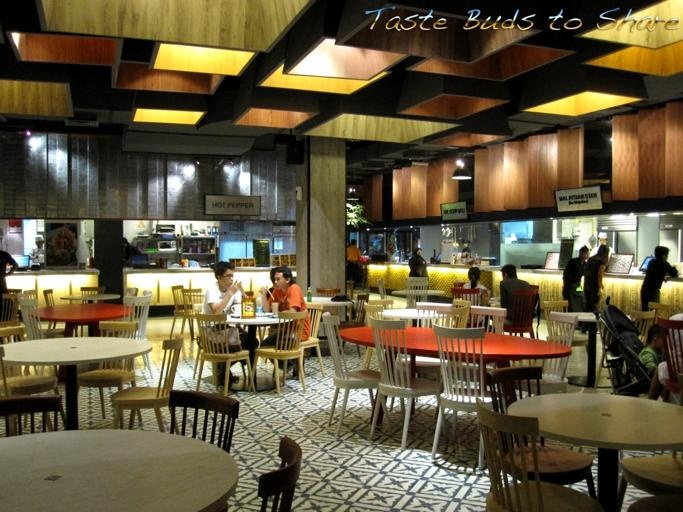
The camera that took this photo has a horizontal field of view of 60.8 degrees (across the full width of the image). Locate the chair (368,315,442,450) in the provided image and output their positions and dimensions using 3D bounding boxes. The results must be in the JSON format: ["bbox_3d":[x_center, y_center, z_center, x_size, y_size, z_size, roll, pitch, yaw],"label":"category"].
[{"bbox_3d":[0.594,1.165,5.600,0.666,1.197,0.849,1,4,7],"label":"chair"}]

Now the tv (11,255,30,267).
[{"bbox_3d":[-6.927,0.109,12.568,0.276,0.176,0.147,0,7,-9],"label":"tv"}]

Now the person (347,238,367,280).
[{"bbox_3d":[0.487,0.233,19.962,0.594,1.417,1.286,1,4,1],"label":"person"}]

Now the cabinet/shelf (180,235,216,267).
[{"bbox_3d":[-3.611,-0.120,14.504,0.865,0.721,0.273,0,1,-18],"label":"cabinet/shelf"}]

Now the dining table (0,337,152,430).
[{"bbox_3d":[-2.211,0.938,4.796,0.994,0.609,0.947,3,-5,-3],"label":"dining table"}]

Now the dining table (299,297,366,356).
[{"bbox_3d":[-0.134,1.030,8.218,0.981,0.655,0.934,0,-3,-3],"label":"dining table"}]

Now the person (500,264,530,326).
[{"bbox_3d":[2.544,0.623,8.704,0.429,1.104,0.375,-11,34,-5],"label":"person"}]

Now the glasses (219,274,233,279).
[{"bbox_3d":[-1.483,0.259,7.436,0.103,0.095,0.083,-10,3,19],"label":"glasses"}]

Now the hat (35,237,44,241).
[{"bbox_3d":[-7.256,-0.417,13.990,0.225,0.050,0.210,0,-3,-10],"label":"hat"}]

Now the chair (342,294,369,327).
[{"bbox_3d":[0.223,0.852,9.263,0.509,0.620,0.395,3,-3,-23],"label":"chair"}]

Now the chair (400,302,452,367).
[{"bbox_3d":[1.120,0.886,7.073,0.631,0.777,0.636,-4,-10,42],"label":"chair"}]

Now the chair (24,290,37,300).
[{"bbox_3d":[-4.875,0.606,9.113,0.153,0.115,0.165,3,-7,-40],"label":"chair"}]

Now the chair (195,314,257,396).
[{"bbox_3d":[-1.362,1.138,6.902,0.661,1.052,1.047,0,4,-11],"label":"chair"}]

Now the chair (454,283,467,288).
[{"bbox_3d":[2.167,0.537,10.738,0.183,0.118,0.165,-3,5,-45],"label":"chair"}]

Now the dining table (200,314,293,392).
[{"bbox_3d":[-1.204,1.176,7.062,1.063,0.698,1.053,-2,-3,32],"label":"dining table"}]

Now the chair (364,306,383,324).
[{"bbox_3d":[0.386,0.650,6.670,0.197,0.249,0.221,0,2,-25],"label":"chair"}]

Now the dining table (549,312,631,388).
[{"bbox_3d":[2.899,1.102,6.777,1.017,0.925,0.970,1,6,11],"label":"dining table"}]

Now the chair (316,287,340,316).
[{"bbox_3d":[-0.226,0.713,9.451,0.424,0.525,0.409,1,-9,1],"label":"chair"}]

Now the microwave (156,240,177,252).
[{"bbox_3d":[-4.339,-0.273,14.551,0.545,0.322,0.288,1,-4,-24],"label":"microwave"}]

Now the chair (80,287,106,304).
[{"bbox_3d":[-4.311,0.674,10.068,0.346,0.412,0.300,1,-5,-23],"label":"chair"}]
